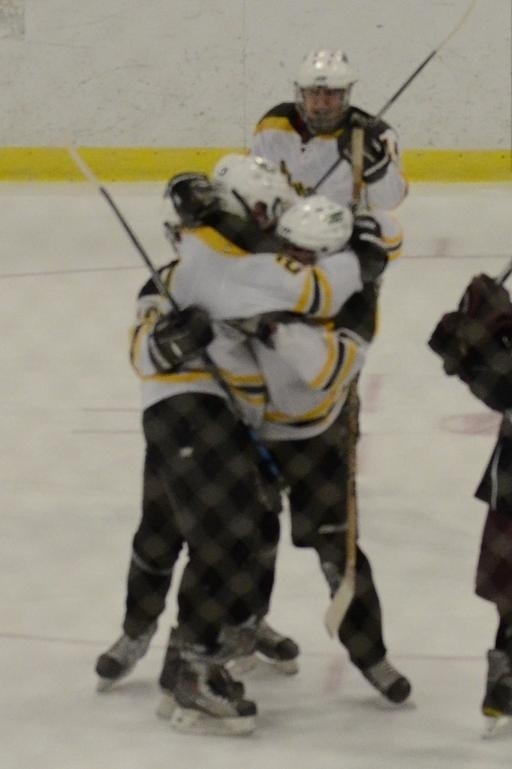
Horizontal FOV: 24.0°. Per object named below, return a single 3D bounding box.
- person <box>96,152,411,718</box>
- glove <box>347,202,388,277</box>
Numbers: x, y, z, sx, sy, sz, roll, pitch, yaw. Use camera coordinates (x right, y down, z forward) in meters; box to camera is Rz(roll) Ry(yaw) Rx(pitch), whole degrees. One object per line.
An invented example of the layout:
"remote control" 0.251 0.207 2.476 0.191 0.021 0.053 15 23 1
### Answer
"person" -0.071 0.125 3.081 0.614 1.297 0.882 6 33 17
"glove" 0.296 -0.374 3.139 0.072 0.153 0.127 4 3 -33
